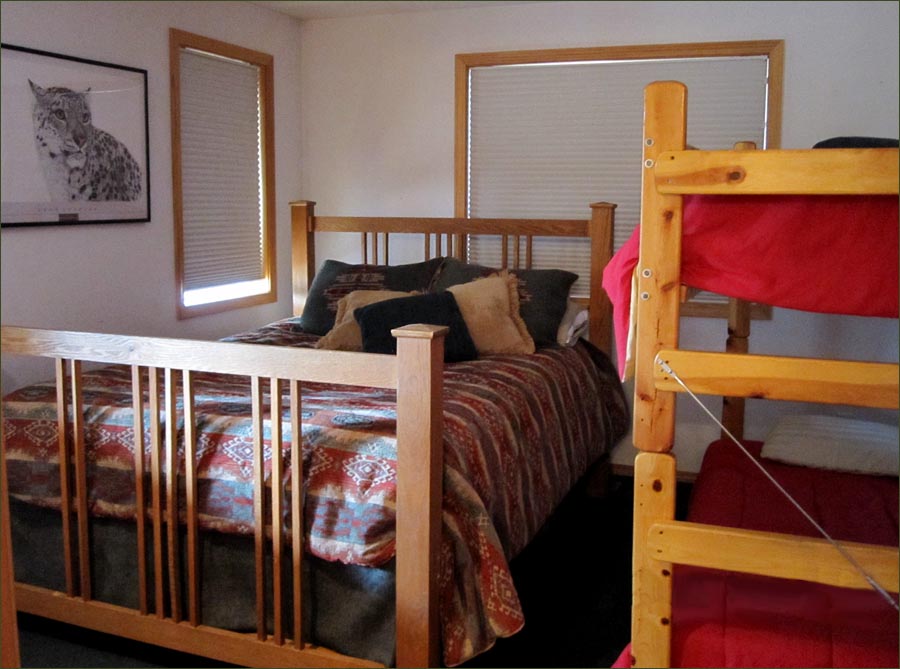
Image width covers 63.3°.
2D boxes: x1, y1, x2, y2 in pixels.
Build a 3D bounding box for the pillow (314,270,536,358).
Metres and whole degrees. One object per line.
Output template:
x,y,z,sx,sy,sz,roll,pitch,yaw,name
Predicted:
-0.060,-0.075,3.527,0.658,0.205,0.534,-4,30,-4,pillow
